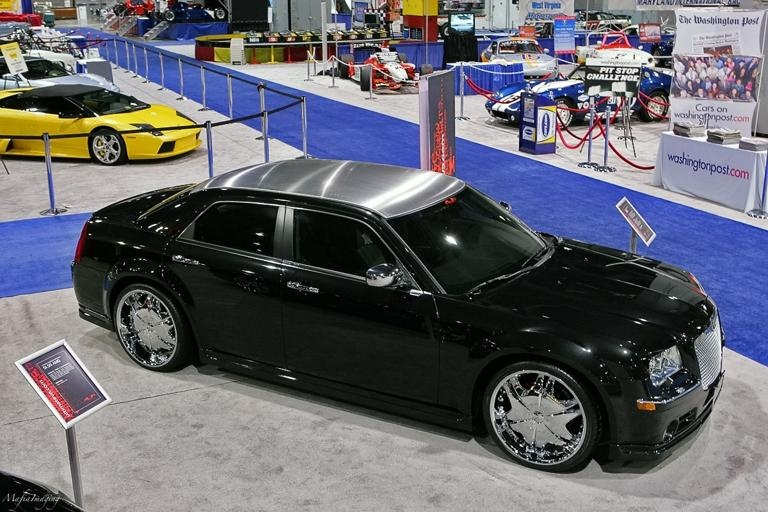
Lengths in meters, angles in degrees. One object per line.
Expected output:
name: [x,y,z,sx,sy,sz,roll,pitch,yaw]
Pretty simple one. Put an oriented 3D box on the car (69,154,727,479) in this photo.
car: [-0.006,0.515,5.465,6.887,1.843,2.576,9,26,18]
